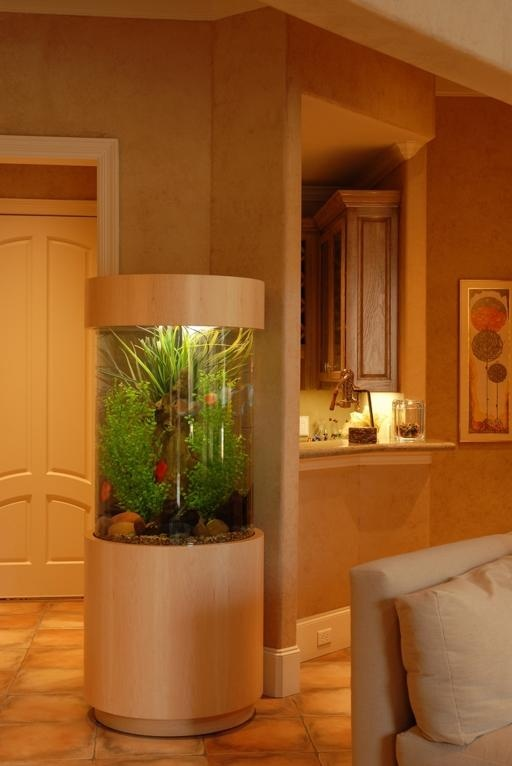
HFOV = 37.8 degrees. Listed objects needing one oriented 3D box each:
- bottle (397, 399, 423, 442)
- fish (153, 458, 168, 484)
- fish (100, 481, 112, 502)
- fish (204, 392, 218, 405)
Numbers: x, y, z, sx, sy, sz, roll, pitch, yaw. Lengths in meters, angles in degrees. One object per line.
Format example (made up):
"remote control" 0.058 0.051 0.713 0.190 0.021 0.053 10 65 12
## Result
"bottle" 0.837 0.205 4.045 0.176 0.214 0.168 1 -2 0
"fish" -0.318 0.294 2.501 0.045 0.078 0.007 0 -2 13
"fish" -0.523 0.379 2.602 0.019 0.077 0.088 1 -2 -30
"fish" -0.154 0.055 2.552 0.055 0.044 0.008 2 -2 -44
